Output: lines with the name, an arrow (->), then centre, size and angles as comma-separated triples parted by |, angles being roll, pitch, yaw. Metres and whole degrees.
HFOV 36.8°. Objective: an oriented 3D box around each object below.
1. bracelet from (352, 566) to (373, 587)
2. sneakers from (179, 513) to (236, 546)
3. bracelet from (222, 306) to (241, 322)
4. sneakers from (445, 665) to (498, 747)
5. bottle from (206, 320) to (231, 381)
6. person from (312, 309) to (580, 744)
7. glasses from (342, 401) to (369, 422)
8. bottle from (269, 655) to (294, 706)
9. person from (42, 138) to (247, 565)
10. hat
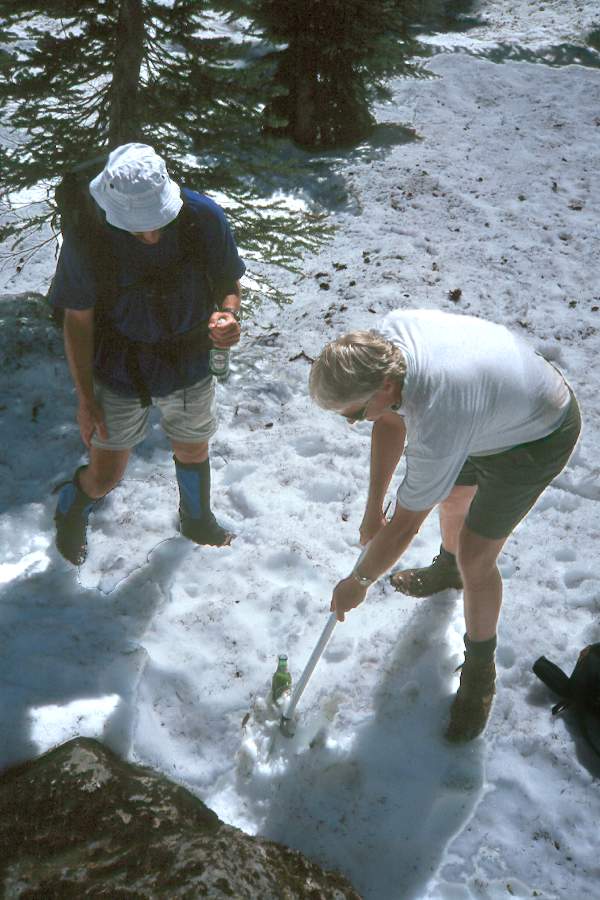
bracelet -> 0.252, 0.512, 3.649 | 0.076, 0.074, 0.047 | -43, 40, -13
sneakers -> -0.506, 0.451, 4.878 | 0.377, 0.231, 0.111 | -5, 57, -8
bracelet -> -0.303, -0.589, 3.956 | 0.086, 0.048, 0.087 | 6, 56, 5
sneakers -> 0.765, 1.135, 4.052 | 0.157, 0.411, 0.193 | 15, 5, 24
bottle -> -0.372, -0.447, 4.257 | 0.091, 0.237, 0.170 | -1, 10, 2
person -> 0.661, 0.456, 4.032 | 1.203, 1.901, 0.826 | -33, 53, 4
glasses -> 0.208, -0.141, 3.398 | 0.061, 0.035, 0.075 | -26, 11, 4
bottle -> -0.086, 1.088, 4.208 | 0.097, 0.289, 0.088 | 2, 39, -2
person -> -0.692, -0.347, 4.160 | 1.046, 1.981, 0.844 | -9, 31, -19
hat -> -0.655, -1.003, 3.646 | 0.332, 0.154, 0.386 | -28, 68, -15
